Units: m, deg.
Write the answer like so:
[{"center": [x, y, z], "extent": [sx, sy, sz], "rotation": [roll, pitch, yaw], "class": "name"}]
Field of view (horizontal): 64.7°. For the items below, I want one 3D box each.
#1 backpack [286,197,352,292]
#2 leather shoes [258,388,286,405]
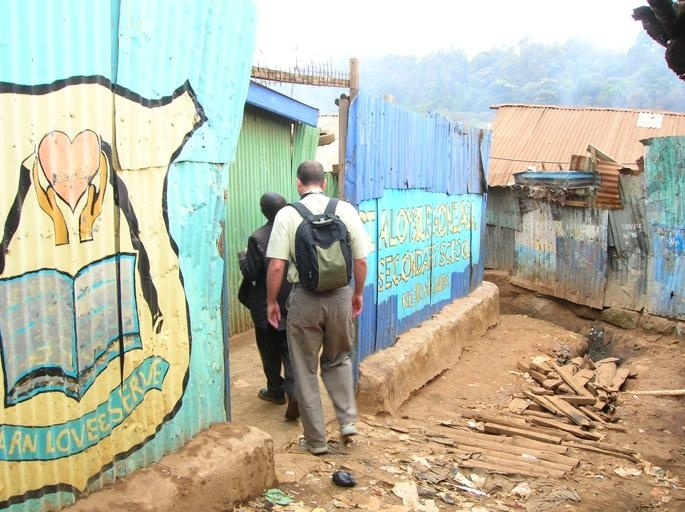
[{"center": [-0.181, -0.079, 4.428], "extent": [0.429, 0.771, 0.402], "rotation": [-7, 9, -20], "class": "backpack"}, {"center": [-0.732, 1.426, 5.626], "extent": [0.265, 0.143, 0.127], "rotation": [23, 20, 31], "class": "leather shoes"}]
